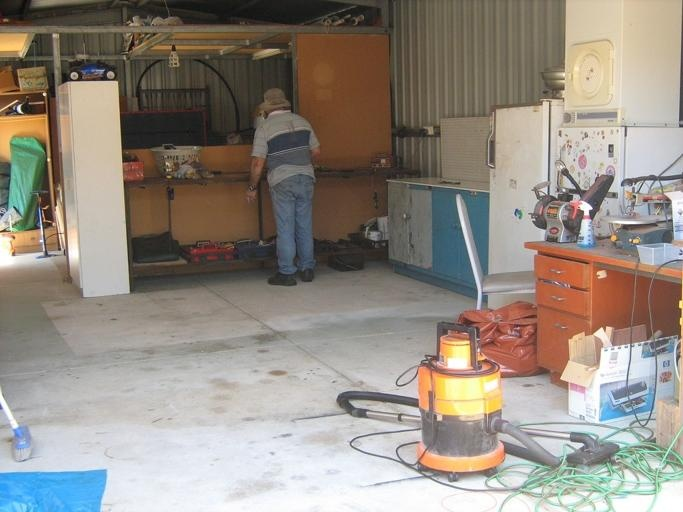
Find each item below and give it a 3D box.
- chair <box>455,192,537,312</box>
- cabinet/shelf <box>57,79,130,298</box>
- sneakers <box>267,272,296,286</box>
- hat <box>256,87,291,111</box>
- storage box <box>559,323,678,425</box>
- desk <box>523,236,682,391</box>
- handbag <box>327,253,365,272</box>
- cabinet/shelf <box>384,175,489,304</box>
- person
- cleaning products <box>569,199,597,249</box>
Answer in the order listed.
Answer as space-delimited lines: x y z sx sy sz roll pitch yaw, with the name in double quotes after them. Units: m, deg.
1.298 -0.004 5.008 0.629 0.988 0.477 -1 13 7 "chair"
-2.954 -0.777 7.004 0.868 2.465 0.602 -2 13 2 "cabinet/shelf"
-0.784 0.277 7.510 0.397 0.133 0.152 9 13 39 "sneakers"
-0.845 -1.923 7.375 0.358 0.288 0.248 -4 12 -8 "hat"
1.745 0.749 3.726 0.758 0.388 0.288 -3 6 -22 "storage box"
1.703 0.379 4.252 1.182 0.879 1.078 -3 9 -21 "desk"
0.077 0.071 8.194 0.310 0.155 0.367 -1 6 -8 "handbag"
1.131 -0.187 6.941 0.616 0.881 1.739 -3 9 -24 "cabinet/shelf"
-0.762 -0.850 7.390 0.789 2.396 0.492 -1 13 8 "person"
1.678 -0.236 4.136 0.160 0.303 0.271 2 13 19 "cleaning products"
